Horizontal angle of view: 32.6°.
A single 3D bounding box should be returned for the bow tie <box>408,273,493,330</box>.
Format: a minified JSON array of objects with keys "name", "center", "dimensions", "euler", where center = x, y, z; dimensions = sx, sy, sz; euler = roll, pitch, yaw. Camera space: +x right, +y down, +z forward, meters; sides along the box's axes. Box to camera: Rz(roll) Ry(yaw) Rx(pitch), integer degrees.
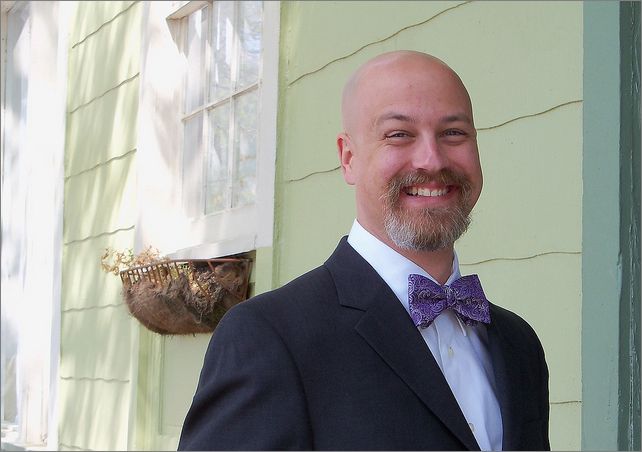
[{"name":"bow tie","center":[0.446,0.265,3.817],"dimensions":[0.297,0.206,0.063],"euler":[0,-23,-20]}]
